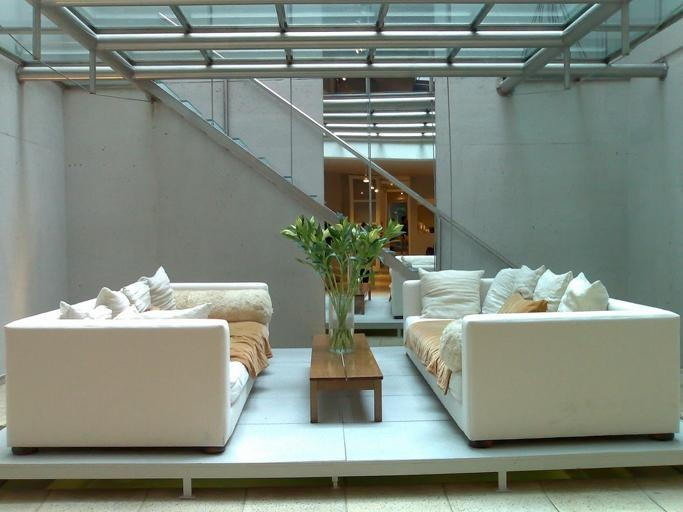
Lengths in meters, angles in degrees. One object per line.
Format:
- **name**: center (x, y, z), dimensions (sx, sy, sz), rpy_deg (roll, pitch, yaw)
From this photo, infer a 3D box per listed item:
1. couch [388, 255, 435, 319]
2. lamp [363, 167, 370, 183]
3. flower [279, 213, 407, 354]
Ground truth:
- **couch**: center (1.030, 0.336, 8.970), dimensions (0.776, 0.851, 0.873), rpy_deg (-3, -27, 5)
- **lamp**: center (0.398, -1.257, 9.376), dimensions (0.112, 0.243, 0.172), rpy_deg (1, 4, 2)
- **flower**: center (0.006, 0.260, 5.855), dimensions (1.050, 1.291, 0.462), rpy_deg (1, 5, 3)
